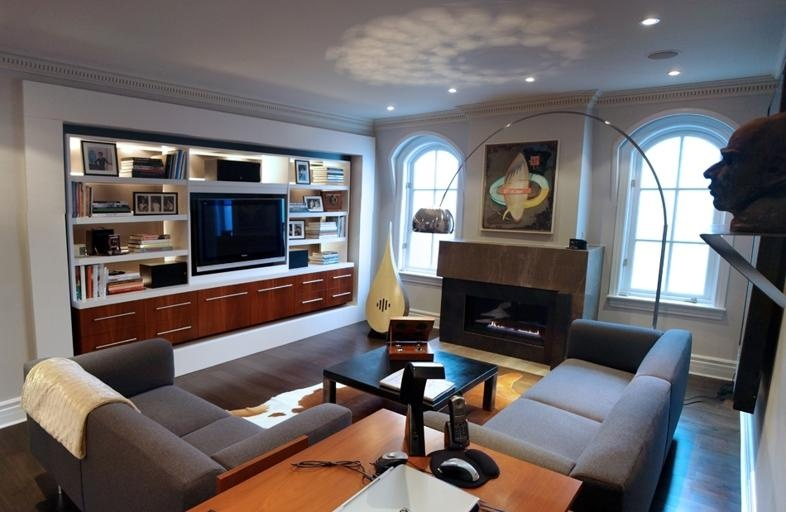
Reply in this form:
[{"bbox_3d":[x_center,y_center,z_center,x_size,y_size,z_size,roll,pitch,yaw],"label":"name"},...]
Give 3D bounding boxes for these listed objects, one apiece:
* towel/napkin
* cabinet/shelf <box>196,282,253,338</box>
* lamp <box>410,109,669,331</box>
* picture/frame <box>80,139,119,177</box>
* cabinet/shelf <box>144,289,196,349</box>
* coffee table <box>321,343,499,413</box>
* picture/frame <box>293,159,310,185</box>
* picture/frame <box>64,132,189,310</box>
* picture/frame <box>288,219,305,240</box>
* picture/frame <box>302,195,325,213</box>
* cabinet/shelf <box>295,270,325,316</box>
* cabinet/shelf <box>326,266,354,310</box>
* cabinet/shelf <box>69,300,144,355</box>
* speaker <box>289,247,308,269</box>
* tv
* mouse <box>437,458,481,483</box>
[{"bbox_3d":[-2.200,0.992,3.633,0.825,0.337,0.487,17,20,33],"label":"towel/napkin"},{"bbox_3d":[-1.889,0.760,6.130,0.647,0.496,0.557,-15,47,-4],"label":"cabinet/shelf"},{"bbox_3d":[1.632,-0.410,5.530,2.283,2.348,1.958,5,10,26],"label":"lamp"},{"bbox_3d":[-2.896,-0.957,5.096,0.031,0.428,0.378,7,10,41],"label":"picture/frame"},{"bbox_3d":[-2.468,0.630,5.690,0.579,0.522,0.396,-7,22,-30],"label":"cabinet/shelf"},{"bbox_3d":[0.100,1.035,4.826,1.001,0.350,1.013,10,12,41],"label":"coffee table"},{"bbox_3d":[-1.200,-1.085,6.725,0.037,0.370,0.348,2,5,31],"label":"picture/frame"},{"bbox_3d":[-2.752,-0.403,5.424,1.209,1.603,0.596,-6,11,-37],"label":"picture/frame"},{"bbox_3d":[-1.289,-0.342,6.858,0.021,0.222,0.274,6,11,34],"label":"picture/frame"},{"bbox_3d":[-1.063,-0.700,7.019,0.118,0.207,0.337,6,10,33],"label":"picture/frame"},{"bbox_3d":[-1.197,0.457,6.936,0.376,0.497,0.558,12,15,37],"label":"cabinet/shelf"},{"bbox_3d":[-0.879,0.435,7.303,0.409,0.511,0.558,4,6,36],"label":"cabinet/shelf"},{"bbox_3d":[-2.813,0.660,5.258,0.470,0.628,0.677,8,12,44],"label":"cabinet/shelf"},{"bbox_3d":[-1.227,0.031,6.820,0.142,0.226,0.345,6,10,29],"label":"speaker"},{"bbox_3d":[-1.800,-0.282,6.222,1.352,0.926,0.130,-2,0,19],"label":"tv"},{"bbox_3d":[0.390,1.201,2.996,0.174,0.060,0.124,11,8,33],"label":"mouse"}]
